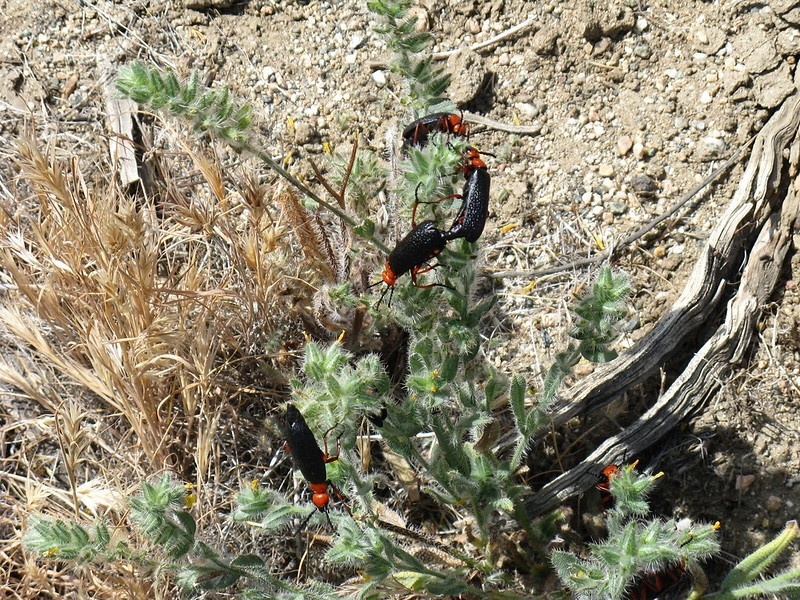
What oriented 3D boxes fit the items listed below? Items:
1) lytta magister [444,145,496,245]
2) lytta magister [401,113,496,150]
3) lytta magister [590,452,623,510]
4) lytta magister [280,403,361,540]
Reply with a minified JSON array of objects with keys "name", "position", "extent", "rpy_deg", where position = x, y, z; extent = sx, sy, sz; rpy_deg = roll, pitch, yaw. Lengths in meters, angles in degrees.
[{"name":"lytta magister","position":[0.322,-0.483,4.246],"extent":[0.103,0.389,0.339],"rpy_deg":[-6,-20,37]},{"name":"lytta magister","position":[0.161,-0.841,4.524],"extent":[0.260,0.099,0.250],"rpy_deg":[-8,-9,30]},{"name":"lytta magister","position":[1.074,0.953,4.777],"extent":[0.160,0.247,0.070],"rpy_deg":[16,-10,-43]},{"name":"lytta magister","position":[-0.431,0.752,4.199],"extent":[0.139,0.516,0.361],"rpy_deg":[-21,19,-1]}]
